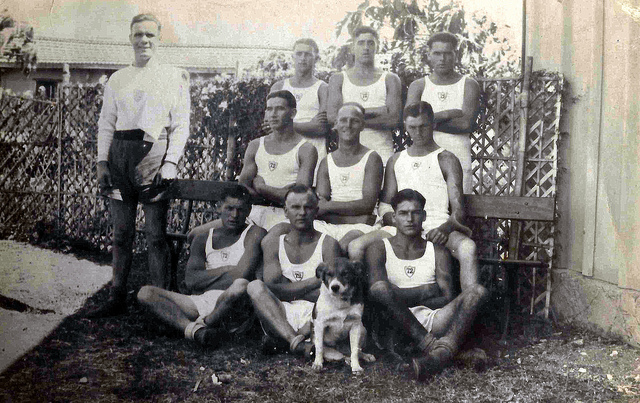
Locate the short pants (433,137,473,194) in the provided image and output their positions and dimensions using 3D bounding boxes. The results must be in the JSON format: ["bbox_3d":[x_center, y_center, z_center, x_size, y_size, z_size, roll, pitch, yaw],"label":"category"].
[{"bbox_3d":[1.524,-0.397,6.772,0.491,0.988,0.622,-2,8,12],"label":"short pants"}]

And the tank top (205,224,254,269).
[{"bbox_3d":[-0.975,0.436,6.215,0.367,0.410,0.450,5,15,10],"label":"tank top"}]

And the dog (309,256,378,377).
[{"bbox_3d":[0.234,1.112,5.566,0.627,1.140,0.321,2,8,4],"label":"dog"}]

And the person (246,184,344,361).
[{"bbox_3d":[-0.142,0.731,5.868,1.021,1.684,1.044,4,5,28],"label":"person"}]

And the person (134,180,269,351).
[{"bbox_3d":[-1.070,0.620,5.977,1.048,1.647,1.188,-5,-9,40],"label":"person"}]

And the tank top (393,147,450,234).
[{"bbox_3d":[1.091,-0.080,6.060,0.601,1.069,0.500,-10,-18,37],"label":"tank top"}]

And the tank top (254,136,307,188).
[{"bbox_3d":[-0.426,-0.328,6.483,0.650,0.733,0.377,6,1,11],"label":"tank top"}]

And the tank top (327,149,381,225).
[{"bbox_3d":[0.321,-0.143,6.383,0.576,0.826,0.437,-1,-16,12],"label":"tank top"}]

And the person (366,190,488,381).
[{"bbox_3d":[1.050,0.807,5.727,1.152,1.772,0.608,2,8,3],"label":"person"}]

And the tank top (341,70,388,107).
[{"bbox_3d":[0.478,-1.189,6.390,0.582,0.588,0.339,0,2,-1],"label":"tank top"}]

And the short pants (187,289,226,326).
[{"bbox_3d":[-1.175,1.073,5.940,0.340,0.326,0.197,0,8,-12],"label":"short pants"}]

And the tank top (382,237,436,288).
[{"bbox_3d":[0.919,0.670,5.899,0.564,0.538,0.325,1,-3,-4],"label":"tank top"}]
